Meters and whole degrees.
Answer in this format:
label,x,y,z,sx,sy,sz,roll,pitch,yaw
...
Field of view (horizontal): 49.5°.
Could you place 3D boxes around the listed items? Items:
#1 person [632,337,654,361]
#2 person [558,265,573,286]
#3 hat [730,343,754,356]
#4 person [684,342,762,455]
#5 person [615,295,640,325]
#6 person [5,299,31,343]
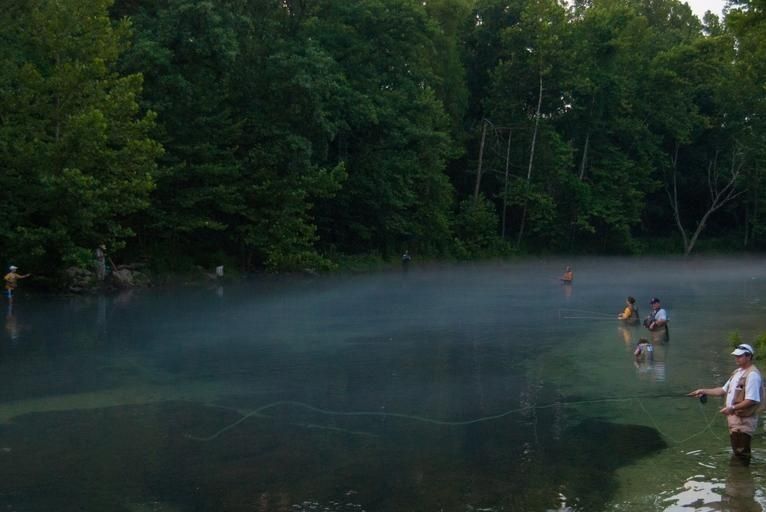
label,x,y,z,sx,sy,sz,roll,pitch,yaw
person,10.974,3.986,35.153,0.866,1.341,0.772,4,8,34
person,12.811,1.522,57.953,1.128,1.347,3.293,-1,-4,10
hat,11.659,3.081,26.999,0.486,0.345,0.343,0,-1,5
person,11.583,4.877,27.397,1.587,3.918,1.054,0,0,24
person,12.130,2.730,41.043,0.824,1.326,1.250,0,-1,6
person,-18.185,3.350,41.596,1.027,1.136,3.961,8,4,-16
